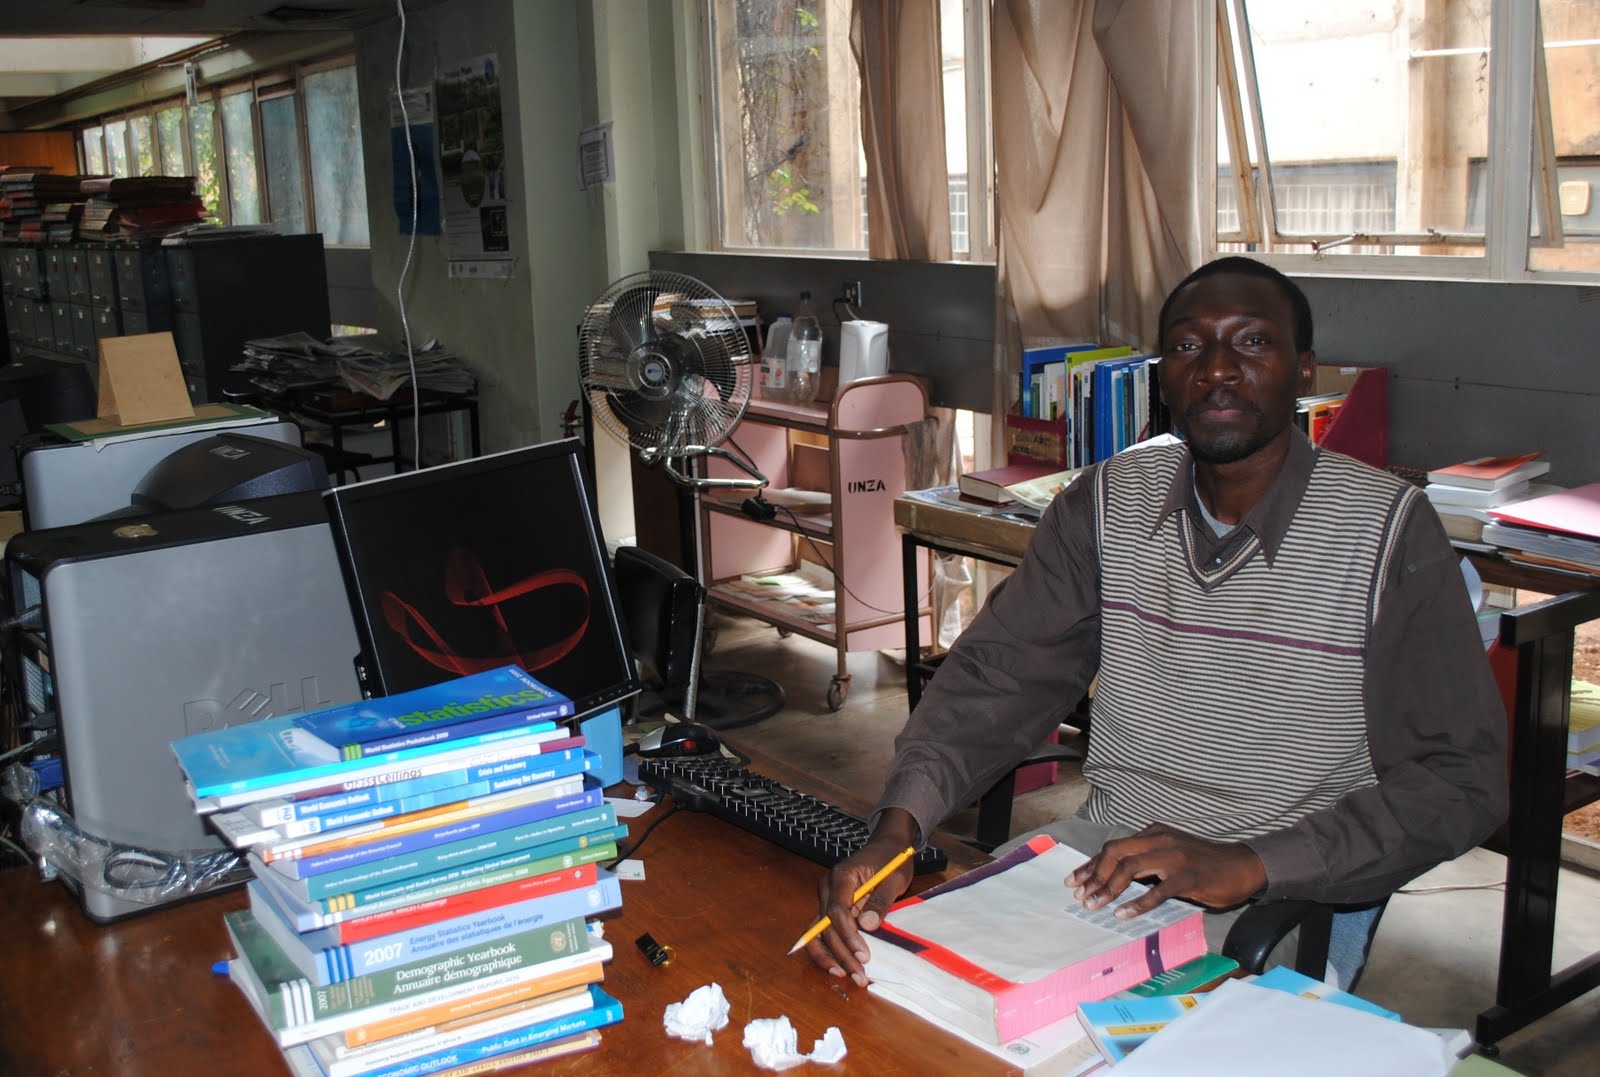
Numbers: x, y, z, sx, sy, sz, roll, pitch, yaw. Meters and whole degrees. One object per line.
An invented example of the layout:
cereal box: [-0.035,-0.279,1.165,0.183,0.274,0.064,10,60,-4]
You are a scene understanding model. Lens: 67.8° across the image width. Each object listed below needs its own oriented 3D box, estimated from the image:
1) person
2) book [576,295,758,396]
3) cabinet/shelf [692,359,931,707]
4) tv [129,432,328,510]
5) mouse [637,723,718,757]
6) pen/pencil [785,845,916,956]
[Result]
person: [0.549,0.301,2.015,1.140,1.332,0.768,-4,9,2]
book: [-0.459,-0.638,3.886,0.431,0.401,0.130,5,25,7]
cabinet/shelf: [0.050,-0.037,4.579,0.567,1.363,1.304,-6,10,-37]
tv: [-1.041,-0.120,2.155,0.315,0.124,0.353,-10,13,-29]
mouse: [-0.231,0.365,2.163,0.067,0.026,0.083,-4,8,-30]
pen/pencil: [0.074,0.512,1.681,0.027,0.024,0.249,32,34,15]
